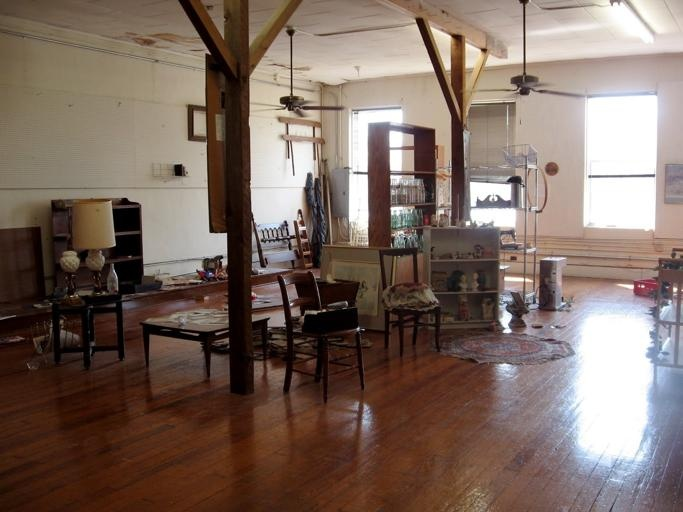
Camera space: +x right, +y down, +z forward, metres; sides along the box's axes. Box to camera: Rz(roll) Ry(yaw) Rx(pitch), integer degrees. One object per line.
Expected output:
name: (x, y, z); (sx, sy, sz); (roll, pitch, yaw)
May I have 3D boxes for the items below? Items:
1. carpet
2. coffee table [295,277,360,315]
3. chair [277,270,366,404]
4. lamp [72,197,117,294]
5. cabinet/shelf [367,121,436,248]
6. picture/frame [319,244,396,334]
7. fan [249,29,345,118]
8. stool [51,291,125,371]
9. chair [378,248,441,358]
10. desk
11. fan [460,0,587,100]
carpet: (2.013, 1.125, 6.595); (1.642, 0.028, 1.184); (0, 9, 2)
coffee table: (-0.075, 0.503, 6.358); (0.502, 0.300, 0.362); (-5, -6, -9)
chair: (-0.236, 0.667, 5.908); (0.884, 1.216, 1.974); (-1, 9, -4)
lamp: (-2.940, -0.108, 6.218); (0.436, 1.073, 0.494); (-5, 10, -28)
cabinet/shelf: (0.891, -1.062, 7.917); (0.883, 1.728, 1.438); (2, 9, 18)
picture/frame: (0.220, 0.440, 6.716); (1.109, 1.098, 0.401); (4, 7, 38)
fan: (-0.895, -3.265, 9.415); (1.441, 1.274, 1.241); (8, 24, 12)
stool: (-3.086, 0.831, 6.346); (0.754, 0.795, 1.015); (-5, 10, -30)
chair: (0.804, 0.540, 6.658); (0.694, 1.220, 0.793); (-2, 2, -25)
desk: (-1.541, 0.762, 5.934); (0.876, 0.441, 0.924); (1, 2, 27)
fan: (3.295, -3.646, 9.454); (1.842, 1.593, 1.740); (-6, 9, -41)
